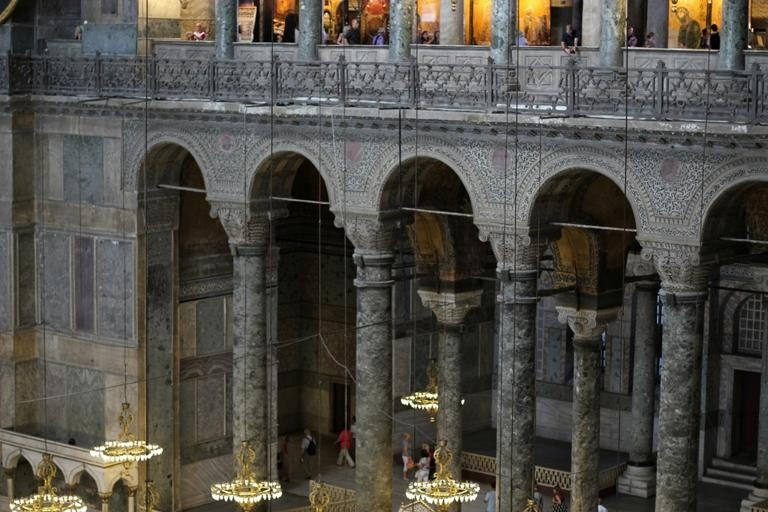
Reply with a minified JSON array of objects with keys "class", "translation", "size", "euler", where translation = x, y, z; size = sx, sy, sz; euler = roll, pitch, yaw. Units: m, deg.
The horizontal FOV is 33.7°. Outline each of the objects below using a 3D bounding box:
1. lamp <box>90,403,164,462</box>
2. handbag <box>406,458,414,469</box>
[{"class":"lamp","translation":[-4.622,3.162,22.690],"size":[1.196,1.148,1.248],"euler":[-1,-4,-21]},{"class":"handbag","translation":[0.534,4.280,26.220],"size":[0.097,0.237,0.232],"euler":[-5,0,16]}]
